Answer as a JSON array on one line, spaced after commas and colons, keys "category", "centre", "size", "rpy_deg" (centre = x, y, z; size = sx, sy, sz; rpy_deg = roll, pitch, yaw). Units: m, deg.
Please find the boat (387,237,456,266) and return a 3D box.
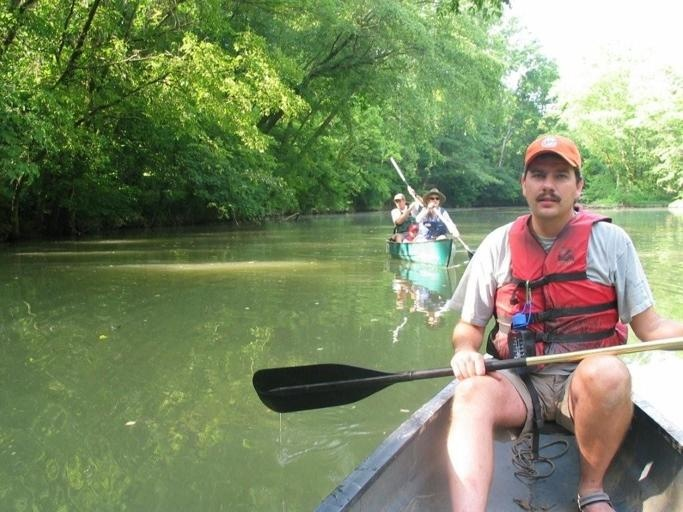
[{"category": "boat", "centre": [1.410, -0.076, 10.122], "size": [0.452, 0.410, 1.296], "rpy_deg": [0, 0, -28]}]
